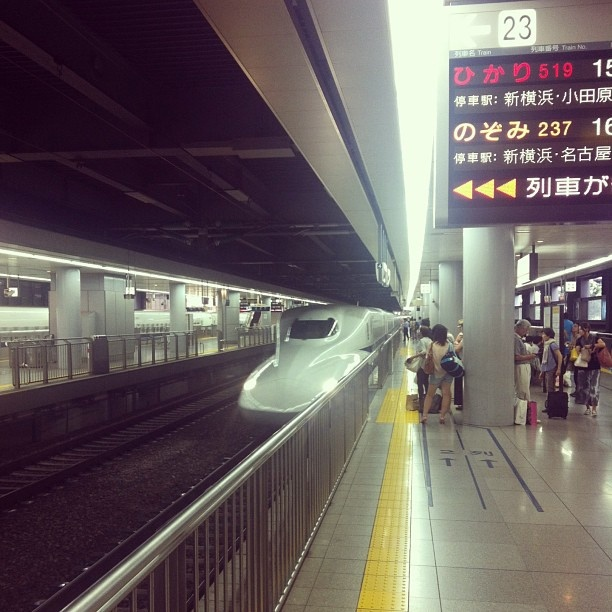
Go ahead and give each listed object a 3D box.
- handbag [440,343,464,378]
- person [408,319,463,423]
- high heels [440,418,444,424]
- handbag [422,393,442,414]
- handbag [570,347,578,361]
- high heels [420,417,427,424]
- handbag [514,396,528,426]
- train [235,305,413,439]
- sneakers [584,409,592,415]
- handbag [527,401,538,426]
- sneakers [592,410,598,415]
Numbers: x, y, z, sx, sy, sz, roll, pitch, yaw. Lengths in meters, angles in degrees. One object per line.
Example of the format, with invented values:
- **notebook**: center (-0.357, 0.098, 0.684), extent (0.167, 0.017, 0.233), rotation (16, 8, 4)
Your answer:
- **handbag**: center (2.262, 0.848, 9.005), extent (0.233, 0.507, 0.489), rotation (-10, -14, 20)
- **person**: center (2.173, 1.069, 9.169), extent (0.603, 1.562, 0.647), rotation (3, 3, 15)
- **high heels**: center (2.144, 1.796, 9.075), extent (0.061, 0.085, 0.085), rotation (3, 5, 13)
- **handbag**: center (2.119, 1.641, 9.712), extent (0.229, 0.340, 0.335), rotation (20, 32, 15)
- **handbag**: center (4.753, 0.855, 10.260), extent (0.079, 0.245, 0.253), rotation (7, -7, 8)
- **high heels**: center (1.851, 1.803, 9.140), extent (0.063, 0.090, 0.239), rotation (1, -8, 15)
- **handbag**: center (3.350, 1.634, 9.010), extent (0.192, 0.394, 0.186), rotation (4, 3, 19)
- **train**: center (0.274, 1.270, 13.229), extent (2.099, 2.513, 6.667), rotation (3, 3, 13)
- **sneakers**: center (4.900, 1.828, 10.054), extent (0.070, 0.093, 0.216), rotation (-3, -10, 27)
- **handbag**: center (3.515, 1.675, 9.018), extent (0.124, 0.377, 0.346), rotation (0, 1, 19)
- **sneakers**: center (4.976, 1.825, 9.951), extent (0.040, 0.056, 0.128), rotation (4, 8, 19)
